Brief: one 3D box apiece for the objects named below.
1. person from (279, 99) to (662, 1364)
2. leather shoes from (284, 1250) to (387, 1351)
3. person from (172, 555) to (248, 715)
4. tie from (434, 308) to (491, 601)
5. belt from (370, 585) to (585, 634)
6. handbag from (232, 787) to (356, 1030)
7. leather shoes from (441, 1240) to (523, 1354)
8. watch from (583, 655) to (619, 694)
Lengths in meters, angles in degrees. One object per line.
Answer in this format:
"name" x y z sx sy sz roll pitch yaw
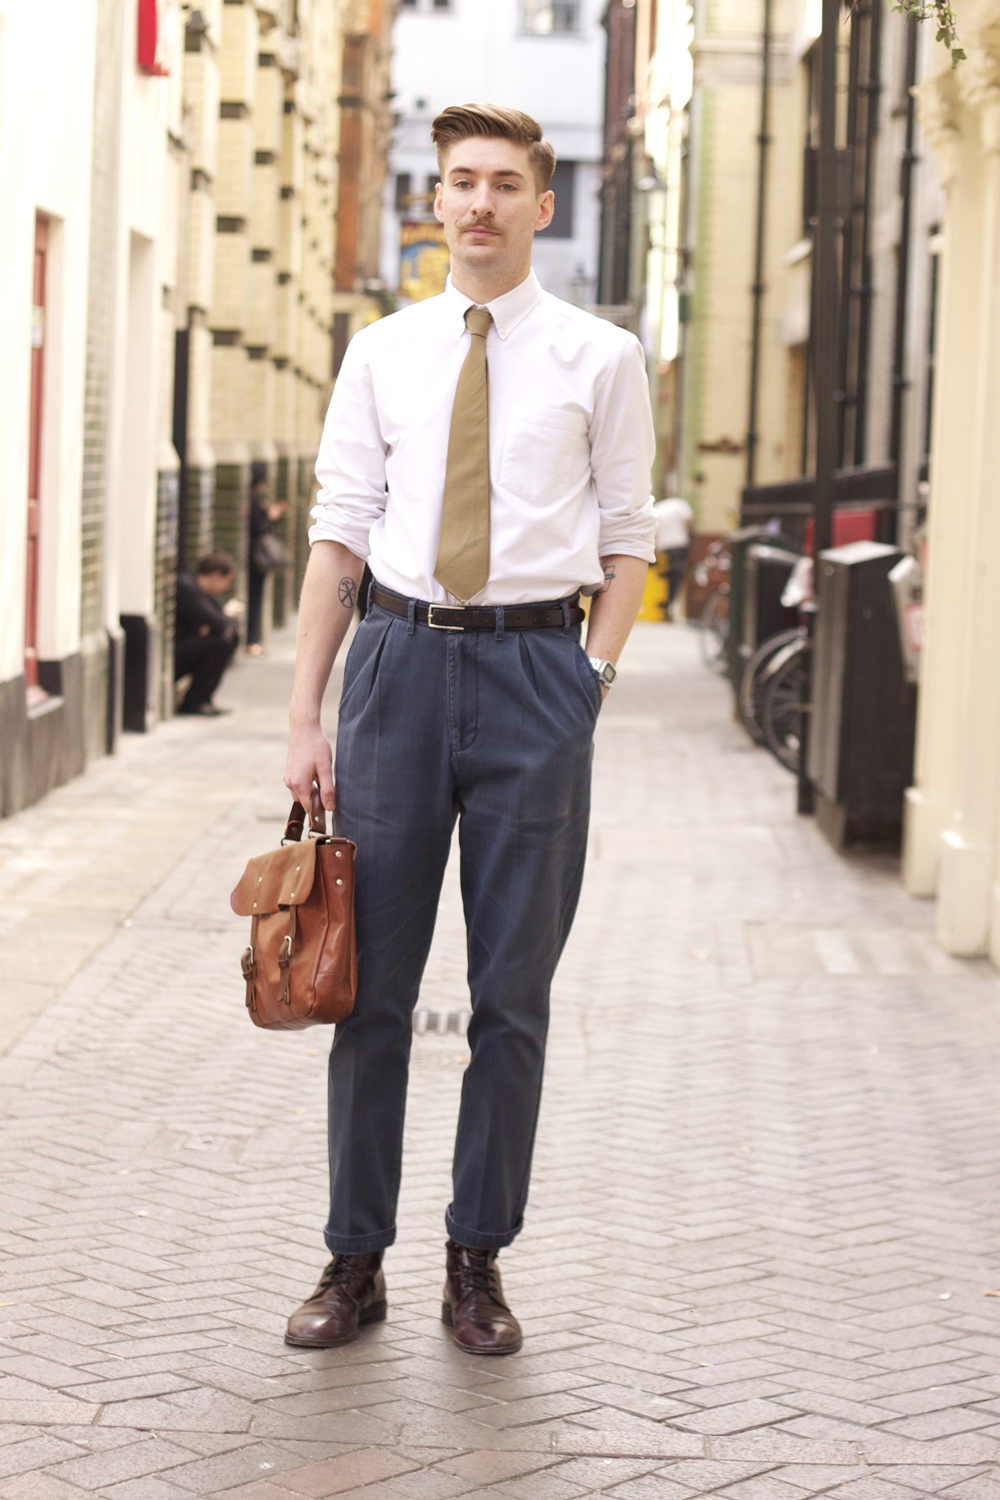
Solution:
"person" -0.065 -0.010 2.762 0.563 1.978 0.311 4 3 3
"leather shoes" -0.256 0.898 2.826 0.079 0.142 0.223 2 -3 24
"person" -2.512 -1.004 14.857 0.526 1.372 1.294 4 3 -10
"tie" -0.040 -0.452 2.630 0.079 0.454 0.099 4 3 2
"belt" -0.043 -0.215 2.699 0.319 0.072 0.160 4 3 -3
"handbag" -0.331 0.279 2.719 0.112 0.306 0.271 1 5 -45
"leather shoes" -0.033 0.894 2.809 0.077 0.104 0.212 1 -6 -12
"watch" 0.155 -0.128 2.799 0.057 0.057 0.037 -13 30 48
